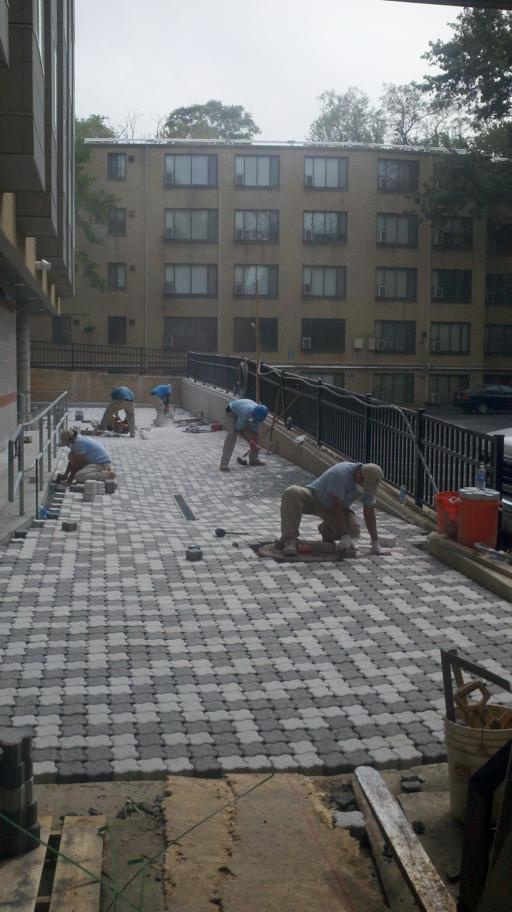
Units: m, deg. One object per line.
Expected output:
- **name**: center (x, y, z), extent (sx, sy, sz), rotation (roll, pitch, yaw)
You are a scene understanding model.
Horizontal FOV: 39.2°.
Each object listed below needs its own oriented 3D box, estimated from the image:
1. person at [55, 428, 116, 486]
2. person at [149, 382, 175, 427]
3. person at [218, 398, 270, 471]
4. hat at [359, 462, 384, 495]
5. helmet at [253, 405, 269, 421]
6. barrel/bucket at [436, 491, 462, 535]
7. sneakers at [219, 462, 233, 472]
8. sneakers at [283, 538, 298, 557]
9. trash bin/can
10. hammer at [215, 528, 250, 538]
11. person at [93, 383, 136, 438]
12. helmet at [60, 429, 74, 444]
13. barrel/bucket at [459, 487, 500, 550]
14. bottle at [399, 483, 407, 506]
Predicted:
- **person**: center (-3.087, -0.015, 12.368), extent (0.634, 0.926, 1.167), rotation (4, 8, 28)
- **person**: center (-3.112, -1.644, 23.386), extent (0.468, 1.283, 0.959), rotation (3, 7, 20)
- **person**: center (-0.198, -0.433, 15.066), extent (1.019, 1.770, 0.846), rotation (24, 32, 29)
- **hat**: center (1.299, 0.237, 7.974), extent (0.218, 0.341, 0.173), rotation (-3, -7, -40)
- **helmet**: center (0.093, -0.866, 14.554), extent (0.252, 0.360, 0.380), rotation (7, 27, -17)
- **barrel/bucket**: center (2.231, 0.632, 8.400), extent (0.346, 0.559, 0.409), rotation (2, 6, 33)
- **sneakers**: center (-0.678, 0.244, 14.863), extent (0.210, 0.164, 0.291), rotation (1, 7, -1)
- **sneakers**: center (0.389, 1.067, 8.342), extent (0.179, 0.163, 0.259), rotation (1, 7, 2)
- **trash bin/can**: center (2.354, 0.686, 7.963), extent (0.519, 0.639, 0.610), rotation (1, 2, 8)
- **hammer**: center (-0.334, 1.013, 9.627), extent (0.452, 0.077, 0.450), rotation (1, 7, -1)
- **person**: center (-3.847, -1.210, 19.882), extent (0.919, 1.402, 1.931), rotation (-1, 7, -11)
- **helmet**: center (-3.138, -0.296, 11.890), extent (0.227, 0.269, 0.612), rotation (0, 7, -9)
- **barrel/bucket**: center (2.380, 0.676, 7.777), extent (0.430, 0.652, 0.382), rotation (3, 7, 23)
- **bottle**: center (2.102, 0.567, 10.325), extent (0.104, 0.243, 0.286), rotation (2, 7, 12)
